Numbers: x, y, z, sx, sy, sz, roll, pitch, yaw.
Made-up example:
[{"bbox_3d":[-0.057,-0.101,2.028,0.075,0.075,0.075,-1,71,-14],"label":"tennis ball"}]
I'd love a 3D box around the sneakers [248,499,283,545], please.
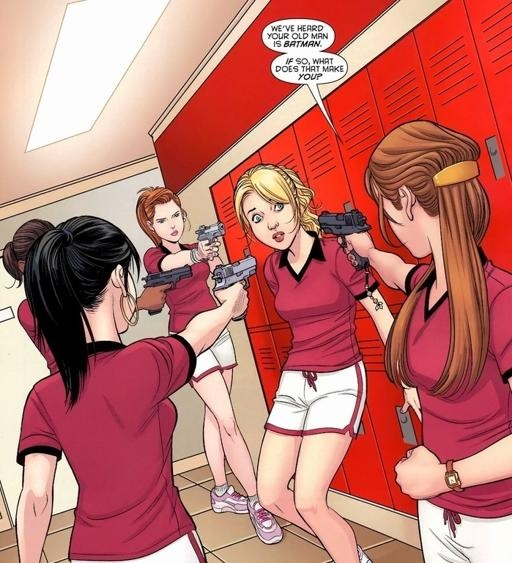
[{"bbox_3d":[0.023,1.114,2.321,0.090,0.102,0.270,-9,9,-19],"label":"sneakers"}]

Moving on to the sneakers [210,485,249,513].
[{"bbox_3d":[-0.154,1.202,2.746,0.278,0.130,0.094,-1,-4,26],"label":"sneakers"}]
